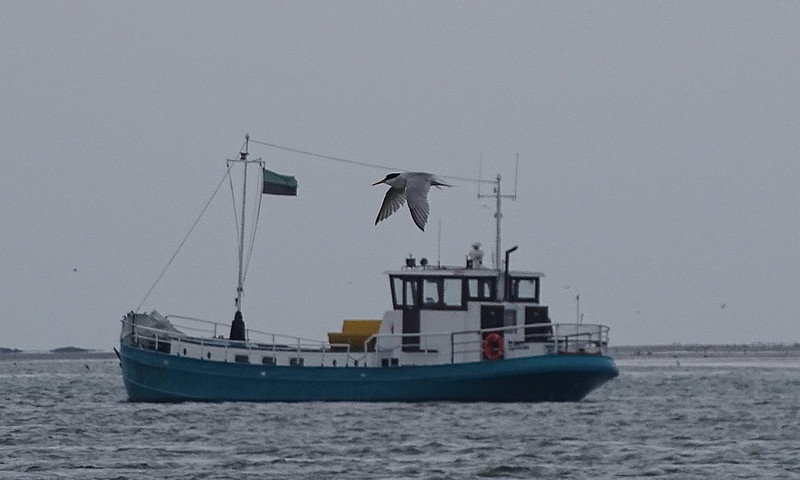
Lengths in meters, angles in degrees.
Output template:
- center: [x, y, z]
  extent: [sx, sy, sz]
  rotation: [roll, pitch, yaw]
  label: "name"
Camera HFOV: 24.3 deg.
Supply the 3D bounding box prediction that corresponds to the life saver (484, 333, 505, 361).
- center: [4.645, 5.454, 94.081]
  extent: [0.350, 1.195, 1.148]
  rotation: [3, -3, -45]
  label: "life saver"
